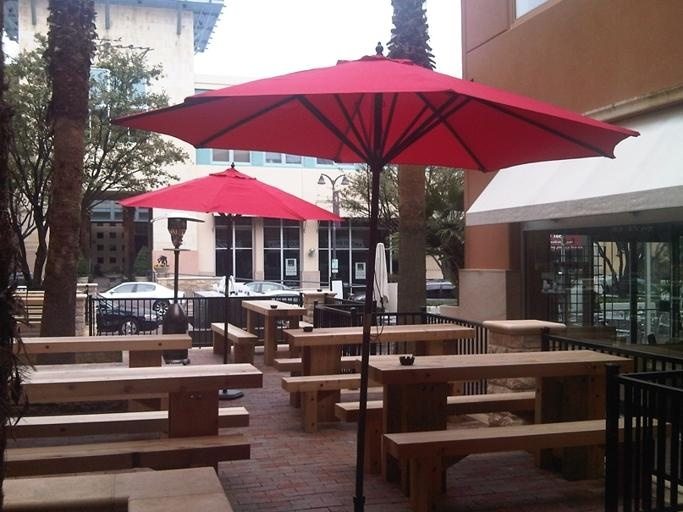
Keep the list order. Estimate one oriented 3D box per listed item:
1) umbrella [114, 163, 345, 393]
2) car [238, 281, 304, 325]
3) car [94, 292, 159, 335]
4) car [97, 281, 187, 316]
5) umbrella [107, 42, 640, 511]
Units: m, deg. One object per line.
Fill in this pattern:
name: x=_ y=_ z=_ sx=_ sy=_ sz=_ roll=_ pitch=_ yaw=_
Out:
umbrella: x=-1.854 y=0.041 z=11.553 sx=2.799 sy=2.878 sz=2.821 roll=3 pitch=9 yaw=-15
car: x=-2.858 y=1.730 z=26.768 sx=2.284 sy=0.719 sz=1.346 roll=10 pitch=-11 yaw=-22
car: x=-6.474 y=1.799 z=20.711 sx=2.394 sy=0.917 sz=1.267 roll=4 pitch=-6 yaw=-10
car: x=-6.553 y=1.418 z=23.173 sx=2.685 sy=0.989 sz=1.299 roll=4 pitch=-6 yaw=-3
umbrella: x=0.391 y=0.281 z=6.641 sx=4.140 sy=4.527 sz=2.525 roll=0 pitch=-1 yaw=-21
